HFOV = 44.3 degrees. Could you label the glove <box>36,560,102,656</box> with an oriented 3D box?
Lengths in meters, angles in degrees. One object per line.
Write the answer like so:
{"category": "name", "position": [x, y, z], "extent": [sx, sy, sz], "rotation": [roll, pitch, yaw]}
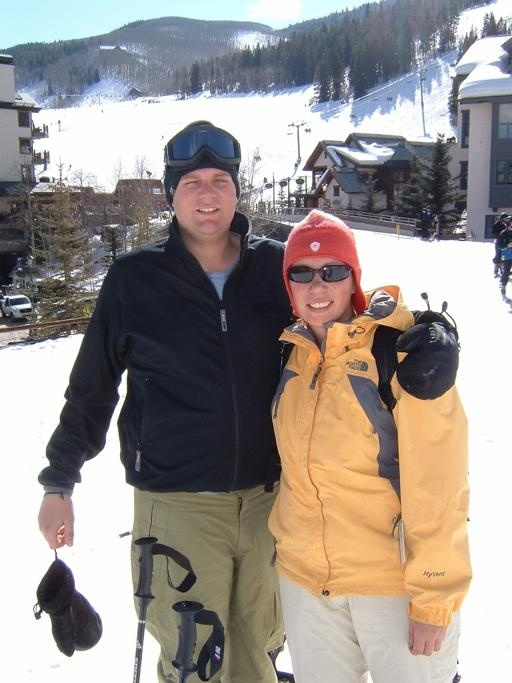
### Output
{"category": "glove", "position": [-0.730, 1.034, 2.438], "extent": [0.227, 0.440, 0.208], "rotation": [-6, 10, -22]}

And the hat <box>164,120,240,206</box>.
{"category": "hat", "position": [-0.219, -0.706, 2.626], "extent": [0.247, 0.340, 0.281], "rotation": [0, 45, -3]}

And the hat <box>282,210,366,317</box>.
{"category": "hat", "position": [0.251, -0.303, 2.403], "extent": [0.290, 0.370, 0.378], "rotation": [-4, -1, 5]}

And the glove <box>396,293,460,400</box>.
{"category": "glove", "position": [0.523, 0.011, 2.022], "extent": [0.260, 0.216, 0.469], "rotation": [-4, 15, 8]}
